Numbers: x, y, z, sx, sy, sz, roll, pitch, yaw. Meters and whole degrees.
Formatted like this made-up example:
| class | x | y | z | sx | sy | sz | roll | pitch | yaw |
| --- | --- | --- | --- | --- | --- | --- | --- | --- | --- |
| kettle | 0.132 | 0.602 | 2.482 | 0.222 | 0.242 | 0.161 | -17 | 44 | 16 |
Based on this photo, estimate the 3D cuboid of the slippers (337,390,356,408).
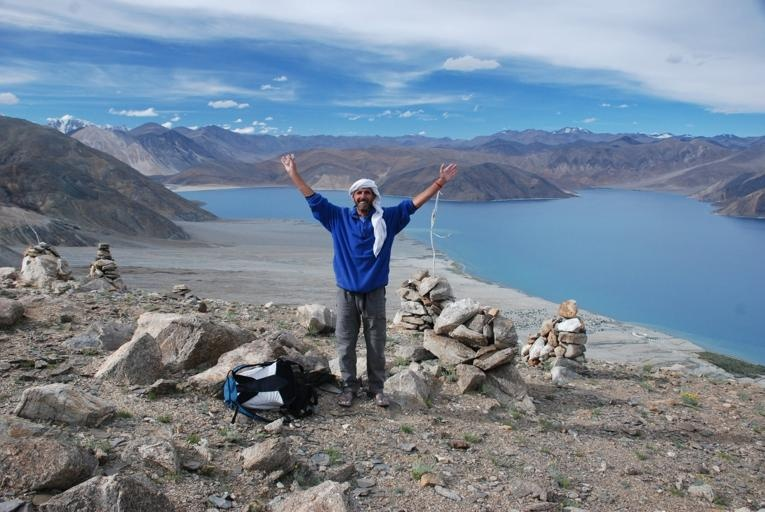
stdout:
| class | x | y | z | sx | sy | sz | roll | pitch | yaw |
| --- | --- | --- | --- | --- | --- | --- | --- | --- | --- |
| slippers | -0.637 | 2.502 | 9.581 | 0.337 | 0.229 | 0.317 | -2 | 14 | -4 |
